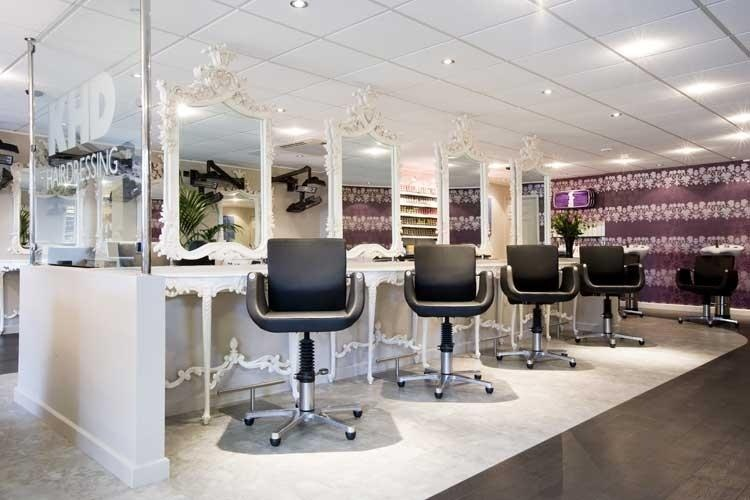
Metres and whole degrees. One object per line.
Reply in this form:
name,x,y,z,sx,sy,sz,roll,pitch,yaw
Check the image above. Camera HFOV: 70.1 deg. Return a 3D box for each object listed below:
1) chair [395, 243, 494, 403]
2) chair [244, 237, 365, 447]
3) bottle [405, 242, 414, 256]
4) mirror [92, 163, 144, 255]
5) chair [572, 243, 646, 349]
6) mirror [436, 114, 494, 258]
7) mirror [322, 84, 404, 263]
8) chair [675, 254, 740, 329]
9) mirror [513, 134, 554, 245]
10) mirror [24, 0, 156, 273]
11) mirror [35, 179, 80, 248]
chair,0.686,0.649,5.263,0.979,1.352,0.897,0,0,7
chair,-0.566,0.666,4.368,1.086,1.468,1.037,0,1,15
bottle,0.434,-0.001,6.436,0.129,0.123,0.122,-6,3,-17
mirror,-1.945,-0.246,4.010,0.130,0.655,0.748,-6,8,-43
chair,3.301,0.609,7.423,0.870,1.321,1.181,3,6,26
mirror,1.234,-0.850,7.225,0.445,1.922,1.179,4,7,37
mirror,-0.114,-0.883,6.144,1.067,1.964,0.319,-5,8,-39
chair,5.830,0.646,9.333,0.897,1.149,1.493,3,6,31
mirror,2.413,-0.930,8.229,0.861,1.625,0.323,-3,7,-28
mirror,-2.309,-0.912,4.314,2.545,2.531,0.185,-2,-3,44
mirror,-2.797,-0.326,4.716,0.670,0.631,0.033,-4,-5,32
